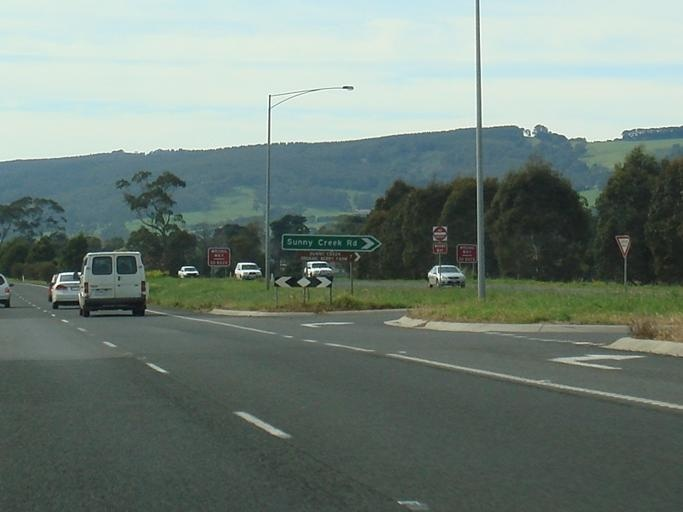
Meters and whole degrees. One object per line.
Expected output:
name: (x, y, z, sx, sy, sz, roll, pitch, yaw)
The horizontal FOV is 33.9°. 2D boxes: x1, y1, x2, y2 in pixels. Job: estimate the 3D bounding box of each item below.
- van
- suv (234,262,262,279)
van: (-8.142, 1.090, 39.232, 2.491, 2.650, 4.643, 0, 2, -11)
suv: (-7.276, 1.206, 87.177, 1.160, 0.976, 2.118, 0, -10, -15)
